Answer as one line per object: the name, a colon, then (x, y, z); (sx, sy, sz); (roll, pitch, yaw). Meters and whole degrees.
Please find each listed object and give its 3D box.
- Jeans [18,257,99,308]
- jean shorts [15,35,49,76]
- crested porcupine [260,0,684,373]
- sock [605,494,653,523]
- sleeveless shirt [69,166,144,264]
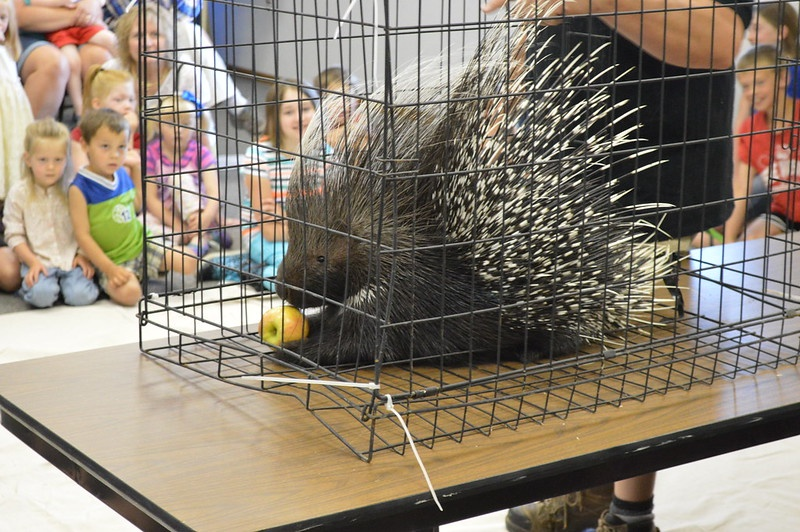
Jeans: (-1.167, 0.059, 3.052); (0.179, 0.072, 0.183); (-4, 10, -29)
jean shorts: (-1.361, -0.771, 3.268); (0.122, 0.132, 0.061); (4, -8, -24)
crested porcupine: (0.257, -0.207, 1.753); (1.061, 0.827, 0.409); (-1, 31, -9)
sock: (0.517, 0.546, 1.975); (0.079, 0.044, 0.095); (0, 3, 11)
sleeveless shirt: (-1.029, -0.172, 3.050); (0.203, 0.326, 0.257); (15, 28, 29)
